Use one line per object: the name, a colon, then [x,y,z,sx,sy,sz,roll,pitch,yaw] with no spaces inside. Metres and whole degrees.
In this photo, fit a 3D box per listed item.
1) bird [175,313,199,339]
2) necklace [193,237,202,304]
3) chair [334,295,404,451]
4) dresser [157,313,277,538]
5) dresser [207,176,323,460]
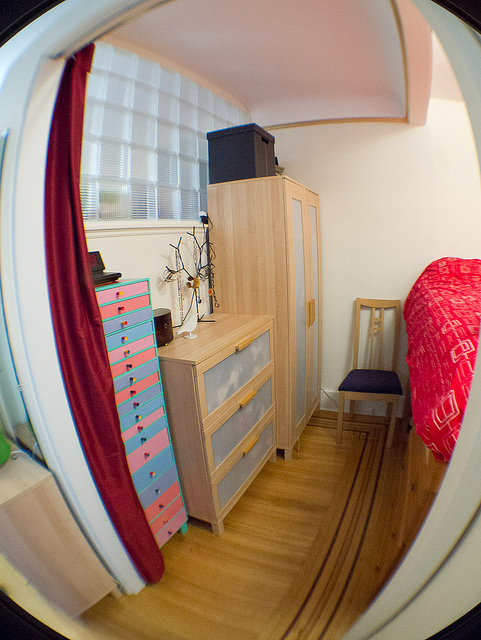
bird: [-0.175,0.023,1.531,0.093,0.102,0.053,-1,13,-1]
necklace: [-0.182,-0.198,1.828,0.019,0.270,0.092,-5,6,-5]
chair: [0.627,0.228,2.185,0.342,0.679,0.452,-2,7,20]
dresser: [-0.090,0.362,1.475,0.334,0.669,0.495,4,21,27]
dresser: [0.163,-0.017,2.086,0.361,1.186,0.570,0,5,27]
